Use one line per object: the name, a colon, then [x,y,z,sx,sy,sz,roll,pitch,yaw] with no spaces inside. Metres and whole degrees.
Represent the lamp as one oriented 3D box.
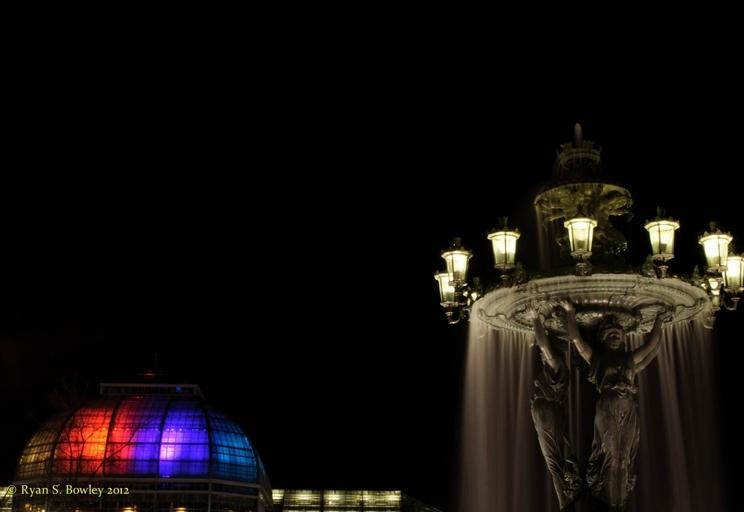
lamp: [3.979,0.367,16.902,5.221,1.451,2.083,-5,-32,9]
